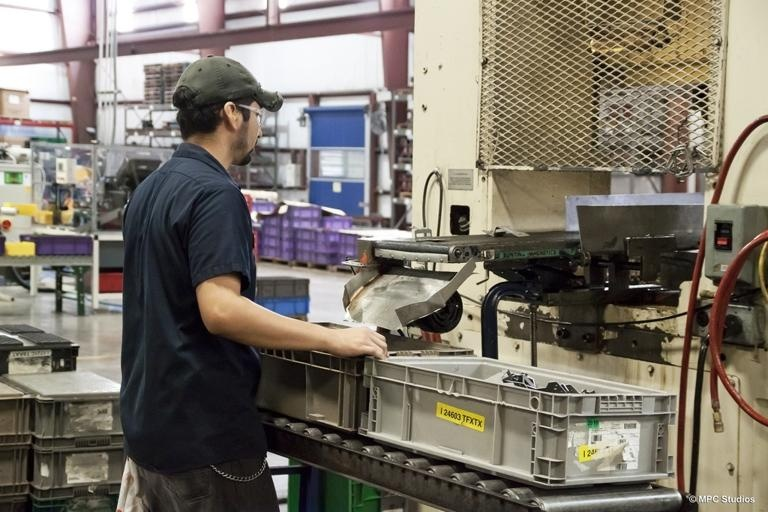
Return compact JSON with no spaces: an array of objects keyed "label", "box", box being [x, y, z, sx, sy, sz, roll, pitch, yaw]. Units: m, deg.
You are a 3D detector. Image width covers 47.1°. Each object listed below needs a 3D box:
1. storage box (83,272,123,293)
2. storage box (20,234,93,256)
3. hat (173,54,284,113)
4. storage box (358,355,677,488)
[{"label":"storage box","box":[-3.814,0.369,12.012,0.458,0.229,0.324,2,4,30]},{"label":"storage box","box":[-3.908,-0.121,10.594,0.756,0.244,0.324,-1,3,-25]},{"label":"hat","box":[-0.631,-0.652,3.520,0.353,0.209,0.241,-14,14,-19]},{"label":"storage box","box":[0.470,0.497,3.237,0.535,0.259,0.836,3,3,-42]}]
